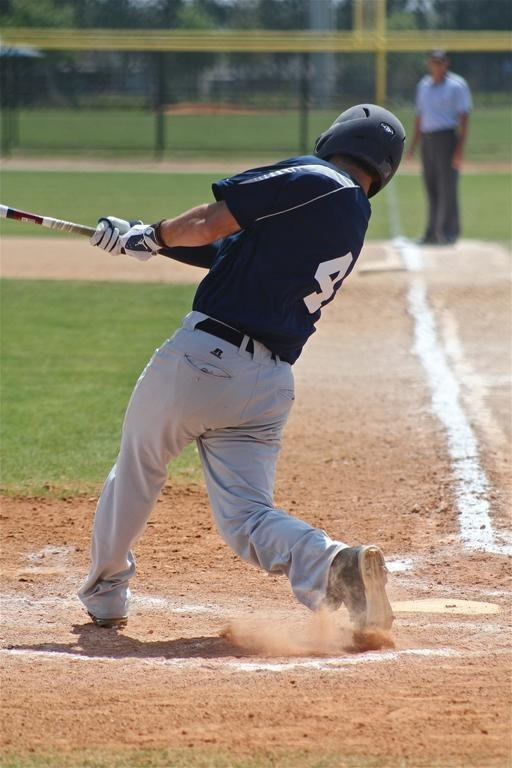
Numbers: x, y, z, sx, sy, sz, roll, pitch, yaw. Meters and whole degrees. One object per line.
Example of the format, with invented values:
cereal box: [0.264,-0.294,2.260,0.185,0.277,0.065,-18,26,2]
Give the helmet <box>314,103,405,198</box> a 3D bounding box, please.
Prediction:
helmet: [0.309,-0.696,3.032,0.217,0.209,0.266,28,-8,-34]

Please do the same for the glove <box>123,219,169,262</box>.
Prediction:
glove: [-0.314,-0.428,2.997,0.093,0.055,0.146,31,-15,-27]

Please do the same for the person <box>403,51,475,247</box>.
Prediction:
person: [1.622,-2.005,8.852,0.422,1.589,0.701,0,7,6]

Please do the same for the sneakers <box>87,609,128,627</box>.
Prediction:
sneakers: [-0.453,0.708,3.133,0.123,0.041,0.044,5,3,35]

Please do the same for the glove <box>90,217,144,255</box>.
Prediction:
glove: [-0.459,-0.474,3.265,0.163,0.065,0.150,16,23,21]

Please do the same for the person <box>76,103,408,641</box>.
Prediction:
person: [-0.041,-0.013,2.941,0.965,1.530,0.485,2,7,23]
